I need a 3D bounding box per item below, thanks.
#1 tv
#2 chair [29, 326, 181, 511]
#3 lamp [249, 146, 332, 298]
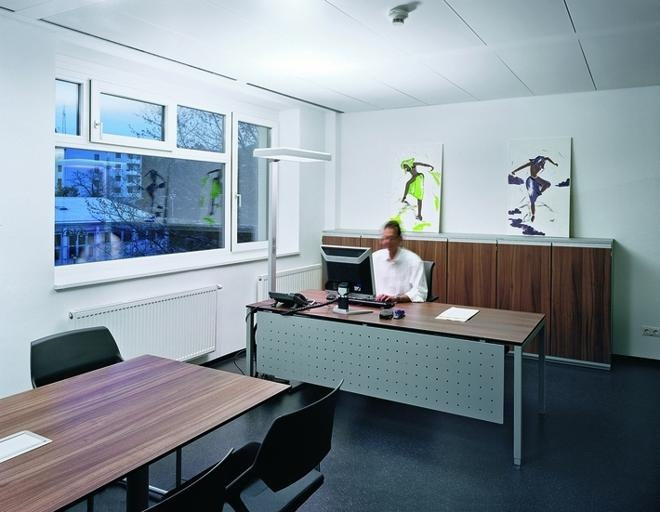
[{"bbox_3d":[0.154,0.229,4.127,0.501,0.619,0.212,5,13,31],"label":"tv"},{"bbox_3d":[-1.629,1.090,3.915,1.012,1.667,1.107,-2,-4,-44],"label":"chair"},{"bbox_3d":[-0.436,-0.299,5.077,0.641,1.659,1.690,-2,10,-6],"label":"lamp"}]
